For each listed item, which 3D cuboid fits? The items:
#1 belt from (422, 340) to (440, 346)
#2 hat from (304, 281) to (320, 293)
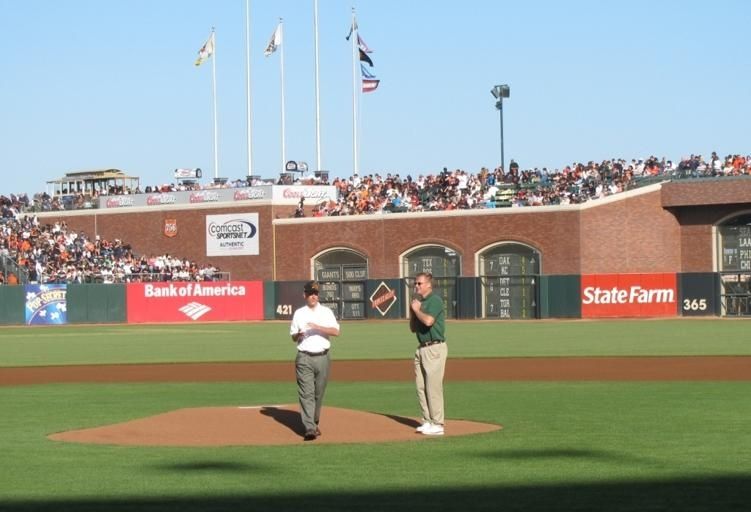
[{"bbox_3d":[1.861,3.009,64.196,0.555,0.198,0.107,-2,8,-6],"label":"belt"},{"bbox_3d":[-2.103,1.169,64.292,0.351,0.468,0.477,1,-27,-38],"label":"hat"}]
